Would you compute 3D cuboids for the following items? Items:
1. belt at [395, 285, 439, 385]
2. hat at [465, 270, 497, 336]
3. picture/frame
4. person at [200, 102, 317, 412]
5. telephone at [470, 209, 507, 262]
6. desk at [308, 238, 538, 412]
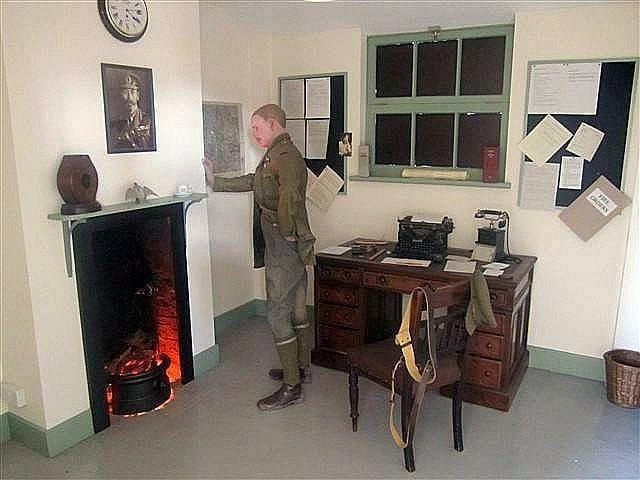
[{"bbox_3d":[0.646,0.621,2.995,0.138,0.592,0.334,1,4,-20],"label":"belt"},{"bbox_3d":[1.049,0.417,3.112,0.192,0.437,0.119,2,13,14],"label":"hat"},{"bbox_3d":[-1.384,-0.951,3.470,0.043,0.613,0.425,7,16,34],"label":"picture/frame"},{"bbox_3d":[-0.363,0.105,3.889,0.580,2.346,0.819,-4,13,-10],"label":"person"},{"bbox_3d":[1.465,-0.031,4.102,0.333,0.473,0.267,9,22,37],"label":"telephone"},{"bbox_3d":[0.879,0.650,4.268,1.775,1.006,0.878,5,15,34],"label":"desk"}]
